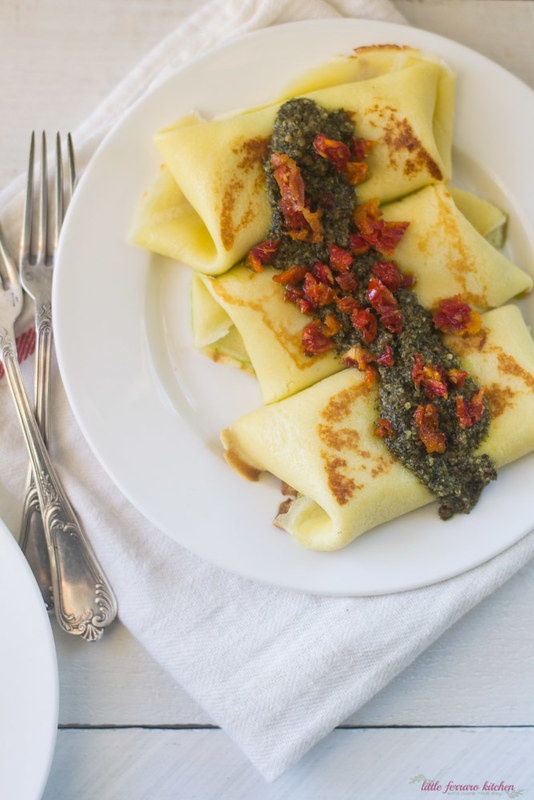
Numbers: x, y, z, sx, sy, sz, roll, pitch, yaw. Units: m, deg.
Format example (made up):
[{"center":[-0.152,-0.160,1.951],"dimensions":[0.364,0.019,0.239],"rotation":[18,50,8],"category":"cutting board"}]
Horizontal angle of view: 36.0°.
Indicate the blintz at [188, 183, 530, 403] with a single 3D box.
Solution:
[{"center":[0.227,-0.217,1.952],"dimensions":[0.701,0.399,0.178],"rotation":[-29,-13,1],"category":"blintz"}]
